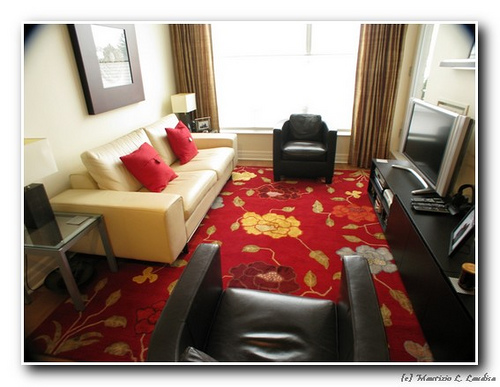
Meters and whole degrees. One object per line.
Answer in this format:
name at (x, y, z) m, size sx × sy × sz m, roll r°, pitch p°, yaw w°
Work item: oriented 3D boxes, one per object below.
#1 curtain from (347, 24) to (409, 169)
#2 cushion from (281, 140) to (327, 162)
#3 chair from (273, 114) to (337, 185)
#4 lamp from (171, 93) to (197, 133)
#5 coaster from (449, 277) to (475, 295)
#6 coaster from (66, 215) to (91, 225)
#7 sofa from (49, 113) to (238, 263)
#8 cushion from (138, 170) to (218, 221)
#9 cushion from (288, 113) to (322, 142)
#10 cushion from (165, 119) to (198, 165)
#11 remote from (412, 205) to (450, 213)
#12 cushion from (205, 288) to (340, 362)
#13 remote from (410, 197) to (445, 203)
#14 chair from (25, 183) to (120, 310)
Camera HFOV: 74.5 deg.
curtain at (1.664, -1.225, 4.368) m, size 0.637 × 1.829 × 0.246 m, roll 8°, pitch 26°, yaw 15°
cushion at (0.702, -0.546, 4.228) m, size 0.564 × 0.178 × 0.387 m, roll 6°, pitch 26°, yaw 8°
chair at (0.725, -0.599, 4.344) m, size 0.792 × 0.768 × 0.672 m, roll 6°, pitch 25°, yaw 9°
lamp at (-0.896, -1.119, 4.622) m, size 0.305 × 0.481 × 0.317 m, roll 1°, pitch 21°, yaw 8°
coaster at (1.175, 0.514, 1.816) m, size 0.122 × 0.032 × 0.137 m, roll 1°, pitch 40°, yaw 22°
coaster at (-1.284, 0.202, 2.457) m, size 0.124 × 0.011 × 0.131 m, roll 8°, pitch 26°, yaw 12°
sofa at (-0.990, -0.030, 2.947) m, size 0.618 × 0.603 × 1.410 m, roll 6°, pitch 34°, yaw 8°
cushion at (-0.549, -0.067, 3.134) m, size 0.444 × 0.149 × 0.642 m, roll 7°, pitch 29°, yaw 8°
cushion at (0.876, -0.911, 4.572) m, size 0.586 × 0.400 × 0.447 m, roll 9°, pitch 20°, yaw 38°
cushion at (-0.789, -0.608, 3.910) m, size 0.253 × 0.417 × 0.457 m, roll 5°, pitch 25°, yaw 9°
remote at (1.354, 0.120, 2.463) m, size 0.154 × 0.018 × 0.086 m, roll 5°, pitch 22°, yaw 11°
cushion at (0.122, 0.695, 1.731) m, size 0.358 × 0.092 × 0.386 m, roll 6°, pitch 31°, yaw 8°
remote at (1.398, 0.055, 2.577) m, size 0.280 × 0.016 × 0.100 m, roll -2°, pitch 26°, yaw -9°
chair at (-1.365, 0.365, 2.422) m, size 0.462 × 0.821 × 0.468 m, roll 7°, pitch 26°, yaw 11°
